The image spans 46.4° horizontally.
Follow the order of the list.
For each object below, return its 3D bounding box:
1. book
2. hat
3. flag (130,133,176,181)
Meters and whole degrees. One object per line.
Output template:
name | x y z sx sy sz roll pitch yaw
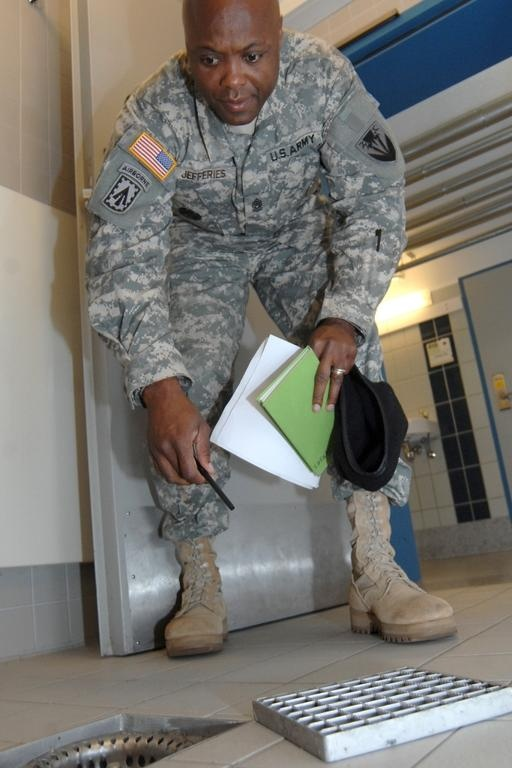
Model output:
book | 0.071 0.048 0.972 0.039 0.183 0.187 12 47 42
hat | 0.205 0.079 1.065 0.156 0.135 0.187 -1 59 -16
flag | -0.194 -0.428 1.151 0.090 0.021 0.067 47 63 -29
